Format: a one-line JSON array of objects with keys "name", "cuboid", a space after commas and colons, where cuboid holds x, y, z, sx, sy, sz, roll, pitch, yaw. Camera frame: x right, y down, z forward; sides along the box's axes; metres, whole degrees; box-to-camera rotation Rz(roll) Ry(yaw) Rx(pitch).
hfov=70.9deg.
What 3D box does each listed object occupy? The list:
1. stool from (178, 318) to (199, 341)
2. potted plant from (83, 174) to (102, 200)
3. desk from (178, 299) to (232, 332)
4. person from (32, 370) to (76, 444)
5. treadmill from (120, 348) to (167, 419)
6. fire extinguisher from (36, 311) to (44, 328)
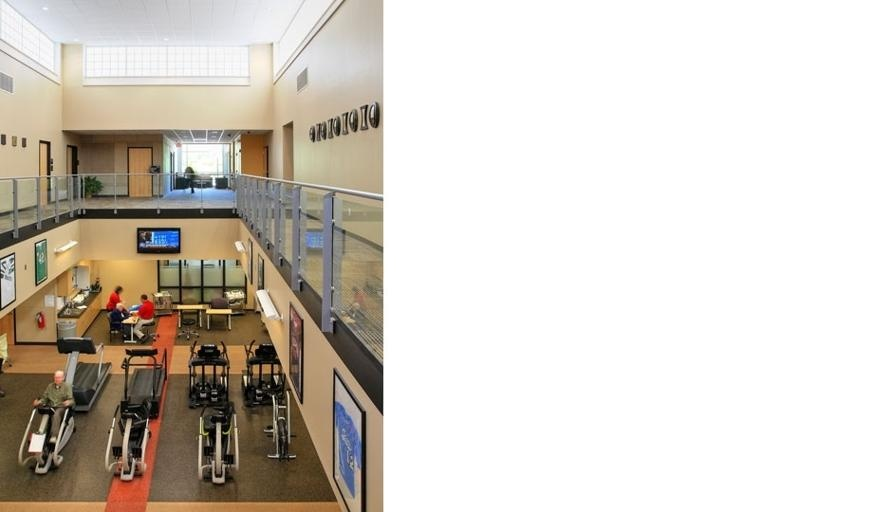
[{"name": "stool", "cuboid": [-7.579, 2.224, 18.522, 0.708, 0.484, 0.631, 1, 5, -1]}, {"name": "potted plant", "cuboid": [-9.356, -1.810, 16.680, 0.600, 0.485, 0.534, -1, -3, 35]}, {"name": "desk", "cuboid": [-7.406, 1.942, 19.410, 1.239, 0.397, 1.190, 2, 5, -14]}, {"name": "person", "cuboid": [-6.503, 2.549, 10.598, 0.607, 1.239, 0.582, 0, -3, -3]}, {"name": "treadmill", "cuboid": [-6.291, 2.461, 13.173, 0.792, 1.349, 2.499, 3, 6, -21]}, {"name": "fire extinguisher", "cuboid": [-10.565, 1.713, 16.442, 0.133, 0.493, 0.293, 5, 10, -1]}]
